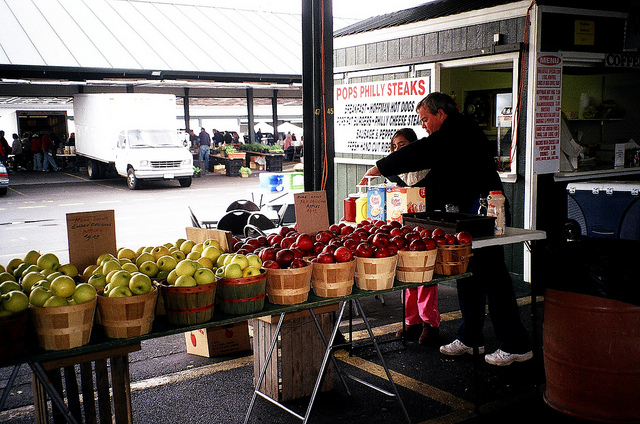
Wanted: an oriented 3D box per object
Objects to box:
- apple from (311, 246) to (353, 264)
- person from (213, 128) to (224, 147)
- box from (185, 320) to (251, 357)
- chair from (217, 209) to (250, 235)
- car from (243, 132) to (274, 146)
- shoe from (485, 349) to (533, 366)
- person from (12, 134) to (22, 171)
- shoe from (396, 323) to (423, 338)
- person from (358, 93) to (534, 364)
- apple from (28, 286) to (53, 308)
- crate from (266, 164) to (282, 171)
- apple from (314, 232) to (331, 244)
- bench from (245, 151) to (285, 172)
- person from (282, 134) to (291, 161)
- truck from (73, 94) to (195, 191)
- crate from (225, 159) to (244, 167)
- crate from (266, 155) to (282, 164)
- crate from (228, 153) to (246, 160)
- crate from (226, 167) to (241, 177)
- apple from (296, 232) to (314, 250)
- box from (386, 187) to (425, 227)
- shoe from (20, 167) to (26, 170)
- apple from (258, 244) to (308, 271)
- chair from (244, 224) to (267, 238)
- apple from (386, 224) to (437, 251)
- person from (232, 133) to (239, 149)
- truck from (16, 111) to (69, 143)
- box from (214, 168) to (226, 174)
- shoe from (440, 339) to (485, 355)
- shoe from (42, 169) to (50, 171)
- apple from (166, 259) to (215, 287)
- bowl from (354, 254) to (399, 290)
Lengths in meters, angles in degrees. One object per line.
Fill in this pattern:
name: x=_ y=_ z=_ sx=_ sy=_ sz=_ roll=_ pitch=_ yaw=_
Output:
apple: x=0.073 y=0.306 z=3.381 sx=0.149 sy=0.067 sz=0.163 roll=-4 pitch=1 yaw=-28
person: x=-5.851 y=-4.199 z=27.227 sx=0.307 sy=0.947 sz=1.105 roll=-10 pitch=10 yaw=-29
box: x=-1.182 y=1.414 z=5.457 sx=0.686 sy=0.337 sz=0.671 roll=-3 pitch=-7 yaw=-24
chair: x=-1.164 y=0.070 z=6.459 sx=0.385 sy=0.443 sz=0.319 roll=-4 pitch=8 yaw=-23
car: x=-3.985 y=-4.821 z=31.535 sx=1.461 sy=0.758 sz=7.441 roll=-5 pitch=10 yaw=-3
shoe: x=1.858 y=1.460 z=4.809 sx=0.464 sy=0.205 sz=0.171 roll=1 pitch=-3 yaw=5
person: x=-16.461 y=-3.206 z=25.936 sx=0.610 sy=1.899 sz=1.497 roll=-10 pitch=10 yaw=-31
shoe: x=1.051 y=1.362 z=5.533 sx=0.356 sy=0.151 sz=0.128 roll=1 pitch=2 yaw=-23
person: x=1.401 y=0.185 z=4.784 sx=1.252 sy=2.730 sz=0.723 roll=-1 pitch=10 yaw=24
apple: x=-1.588 y=0.470 z=2.752 sx=0.107 sy=0.103 sz=0.106 roll=39 pitch=-16 yaw=-34
crate: x=-2.261 y=-2.117 z=23.146 sx=0.462 sy=0.364 sz=0.500 roll=3 pitch=4 yaw=-6
apple: x=0.020 y=0.209 z=3.859 sx=0.093 sy=0.092 sz=0.092 roll=-3 pitch=7 yaw=-22
bench: x=-2.715 y=-2.534 z=23.787 sx=1.167 sy=1.024 sz=3.200 roll=-9 pitch=11 yaw=-26
person: x=-2.073 y=-3.937 z=29.379 sx=0.454 sy=1.471 sz=0.850 roll=-5 pitch=9 yaw=-3
truck: x=-7.543 y=-3.100 z=19.899 sx=3.100 sy=3.510 sz=6.278 roll=-7 pitch=11 yaw=-36
crate: x=-4.131 y=-2.286 z=22.677 sx=0.594 sy=0.444 sz=0.625 roll=2 pitch=1 yaw=0
crate: x=-2.237 y=-2.532 z=23.157 sx=0.706 sy=0.470 sz=0.545 roll=-10 pitch=11 yaw=-31
crate: x=-4.099 y=-2.736 z=23.287 sx=0.778 sy=0.264 sz=0.966 roll=-7 pitch=10 yaw=-13
crate: x=-4.125 y=-1.831 z=22.679 sx=0.592 sy=0.584 sz=0.426 roll=-1 pitch=0 yaw=-27
apple: x=-0.124 y=0.230 z=3.679 sx=0.109 sy=0.124 sz=0.106 roll=-6 pitch=-21 yaw=0
box: x=0.835 y=-0.078 z=4.766 sx=0.393 sy=0.333 sz=0.216 roll=-3 pitch=9 yaw=11
shoe: x=-16.244 y=-2.322 z=26.142 sx=0.353 sy=0.110 sz=0.080 roll=-8 pitch=-11 yaw=1
apple: x=-0.285 y=0.314 z=3.306 sx=0.152 sy=0.095 sz=0.271 roll=5 pitch=4 yaw=-32
chair: x=-0.803 y=0.236 z=5.857 sx=0.217 sy=0.207 sz=0.173 roll=-2 pitch=0 yaw=35
apple: x=0.742 y=0.212 z=3.759 sx=0.222 sy=0.082 sz=0.218 roll=-10 pitch=15 yaw=-34
person: x=-4.755 y=-4.002 z=26.635 sx=0.274 sy=0.710 sz=1.972 roll=-6 pitch=10 yaw=-10
truck: x=-18.598 y=-5.723 z=32.065 sx=1.650 sy=2.111 sz=3.159 roll=7 pitch=10 yaw=36
box: x=-5.100 y=-2.031 z=23.999 sx=0.977 sy=0.270 sz=0.335 roll=4 pitch=13 yaw=42
shoe: x=1.505 y=1.430 z=5.164 sx=0.472 sy=0.223 sz=0.175 roll=4 pitch=-4 yaw=3
shoe: x=-14.694 y=-2.229 z=25.714 sx=0.247 sy=0.077 sz=0.495 roll=-8 pitch=10 yaw=-16
apple: x=-0.826 y=0.387 z=3.013 sx=0.166 sy=0.111 sz=0.227 roll=6 pitch=-5 yaw=-23
bowl: x=0.387 y=0.431 z=3.466 sx=0.262 sy=0.177 sz=0.270 roll=0 pitch=-5 yaw=0
